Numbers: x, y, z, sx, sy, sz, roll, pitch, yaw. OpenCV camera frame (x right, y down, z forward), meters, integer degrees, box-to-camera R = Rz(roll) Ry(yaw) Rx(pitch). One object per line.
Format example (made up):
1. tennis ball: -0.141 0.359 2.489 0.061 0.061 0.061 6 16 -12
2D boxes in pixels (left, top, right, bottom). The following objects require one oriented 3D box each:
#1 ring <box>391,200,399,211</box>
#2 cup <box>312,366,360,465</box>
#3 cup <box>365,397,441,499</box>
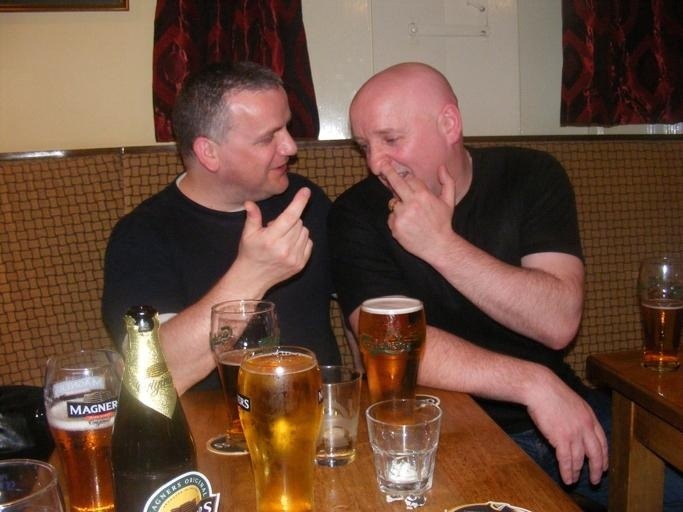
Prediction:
1. ring: 0.150 -0.149 1.836 0.011 0.032 0.024 21 -8 8
2. cup: -0.017 0.342 1.315 0.120 0.187 0.122 -2 -3 0
3. cup: 0.117 0.362 1.241 0.151 0.182 0.160 -1 12 0
